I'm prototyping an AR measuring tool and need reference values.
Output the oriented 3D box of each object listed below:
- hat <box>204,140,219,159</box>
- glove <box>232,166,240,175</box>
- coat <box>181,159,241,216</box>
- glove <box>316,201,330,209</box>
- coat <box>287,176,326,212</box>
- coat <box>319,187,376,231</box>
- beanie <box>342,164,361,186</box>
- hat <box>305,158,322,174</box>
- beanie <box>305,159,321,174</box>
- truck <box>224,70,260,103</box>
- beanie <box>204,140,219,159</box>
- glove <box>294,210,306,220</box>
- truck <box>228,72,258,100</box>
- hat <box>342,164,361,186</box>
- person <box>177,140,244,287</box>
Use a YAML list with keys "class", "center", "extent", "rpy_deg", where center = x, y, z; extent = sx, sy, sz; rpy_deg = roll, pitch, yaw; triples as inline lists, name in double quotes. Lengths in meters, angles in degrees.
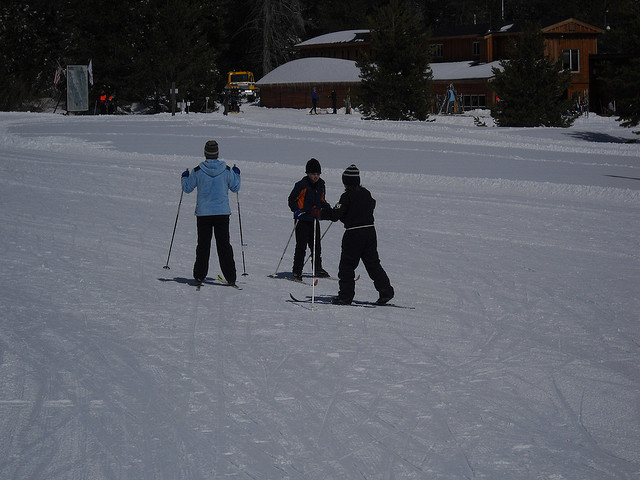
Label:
- class: "hat"
  center: [-1.523, -1.279, 9.731]
  extent: [0.164, 0.236, 0.233]
  rpy_deg: [-1, 21, -12]
- class: "glove"
  center: [-1.161, -0.986, 9.635]
  extent: [0.090, 0.122, 0.110]
  rpy_deg: [-6, -9, -21]
- class: "coat"
  center: [-1.526, -0.737, 9.667]
  extent: [0.774, 0.768, 0.394]
  rpy_deg: [-1, 11, -13]
- class: "glove"
  center: [0.031, -0.511, 10.084]
  extent: [0.117, 0.069, 0.176]
  rpy_deg: [7, 4, -8]
- class: "coat"
  center: [-0.170, -0.612, 10.480]
  extent: [0.596, 0.696, 0.389]
  rpy_deg: [0, 14, -33]
- class: "coat"
  center: [0.419, -0.392, 8.988]
  extent: [0.656, 0.499, 0.477]
  rpy_deg: [-5, 22, -13]
- class: "beanie"
  center: [0.396, -0.855, 9.004]
  extent: [0.216, 0.312, 0.389]
  rpy_deg: [4, 12, 16]
- class: "hat"
  center: [-0.091, -1.087, 10.159]
  extent: [0.165, 0.198, 0.203]
  rpy_deg: [-1, -2, -16]
- class: "beanie"
  center: [-0.112, -1.088, 10.234]
  extent: [0.169, 0.201, 0.196]
  rpy_deg: [-4, 14, -25]
- class: "truck"
  center: [-8.537, -16.158, 72.189]
  extent: [2.641, 3.204, 5.139]
  rpy_deg: [-3, 15, -12]
- class: "beanie"
  center: [-1.527, -1.286, 9.742]
  extent: [0.169, 0.253, 0.398]
  rpy_deg: [-1, 12, -12]
- class: "glove"
  center: [-0.314, -0.369, 10.235]
  extent: [0.111, 0.103, 0.124]
  rpy_deg: [-1, -1, 4]
- class: "truck"
  center: [-7.835, -15.929, 70.454]
  extent: [1.890, 2.255, 3.471]
  rpy_deg: [-1, 5, -5]
- class: "hat"
  center: [0.411, -0.837, 9.097]
  extent: [0.181, 0.277, 0.265]
  rpy_deg: [-1, 7, -8]
- class: "person"
  center: [-1.520, -0.363, 9.713]
  extent: [0.775, 2.032, 0.390]
  rpy_deg: [-1, 10, -14]
